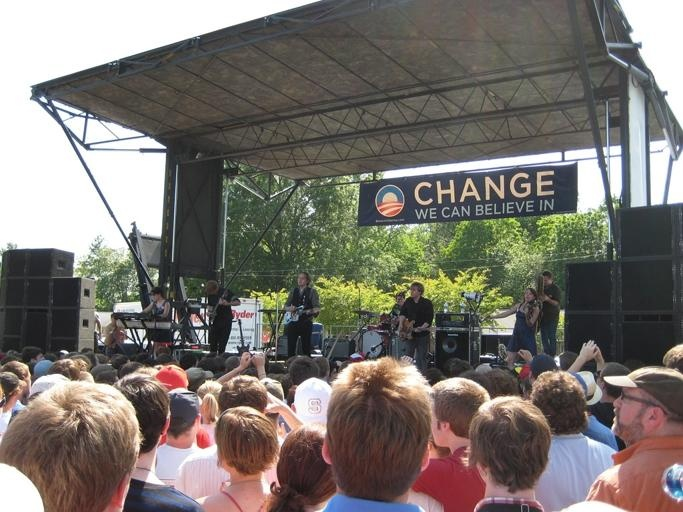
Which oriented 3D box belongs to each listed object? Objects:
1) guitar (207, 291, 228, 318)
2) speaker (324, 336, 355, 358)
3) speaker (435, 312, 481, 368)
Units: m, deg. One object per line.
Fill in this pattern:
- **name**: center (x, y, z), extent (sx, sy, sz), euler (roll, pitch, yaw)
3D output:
- **guitar**: center (-2.043, 0.755, 12.715), extent (0.318, 0.481, 0.122), euler (-4, -16, 27)
- **speaker**: center (-0.027, 1.809, 15.109), extent (0.612, 0.451, 0.351), euler (0, 0, 21)
- **speaker**: center (1.777, 1.385, 12.375), extent (0.529, 0.952, 0.517), euler (2, -1, 15)
